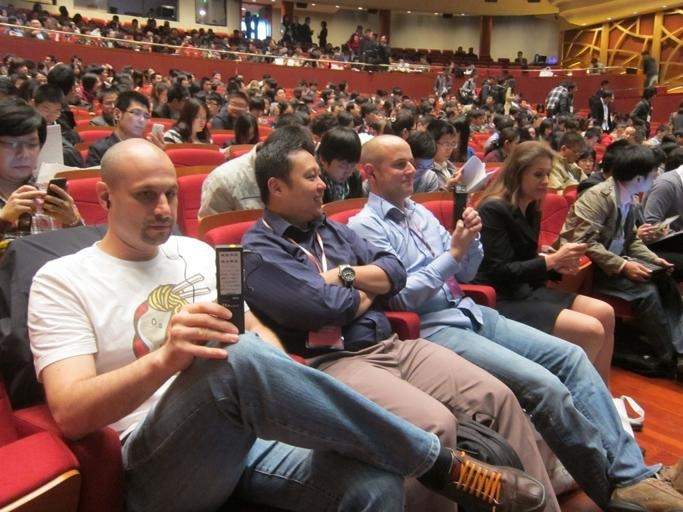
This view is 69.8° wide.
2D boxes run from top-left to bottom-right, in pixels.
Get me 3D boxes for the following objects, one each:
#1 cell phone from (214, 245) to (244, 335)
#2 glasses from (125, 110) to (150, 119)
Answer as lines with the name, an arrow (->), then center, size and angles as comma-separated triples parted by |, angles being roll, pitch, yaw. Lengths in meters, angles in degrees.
cell phone -> -0.301, 0.090, 1.312 | 0.069, 0.239, 0.066 | -2, 19, -15
glasses -> -1.685, -1.169, 4.071 | 0.072, 0.076, 0.186 | 13, 20, 25
